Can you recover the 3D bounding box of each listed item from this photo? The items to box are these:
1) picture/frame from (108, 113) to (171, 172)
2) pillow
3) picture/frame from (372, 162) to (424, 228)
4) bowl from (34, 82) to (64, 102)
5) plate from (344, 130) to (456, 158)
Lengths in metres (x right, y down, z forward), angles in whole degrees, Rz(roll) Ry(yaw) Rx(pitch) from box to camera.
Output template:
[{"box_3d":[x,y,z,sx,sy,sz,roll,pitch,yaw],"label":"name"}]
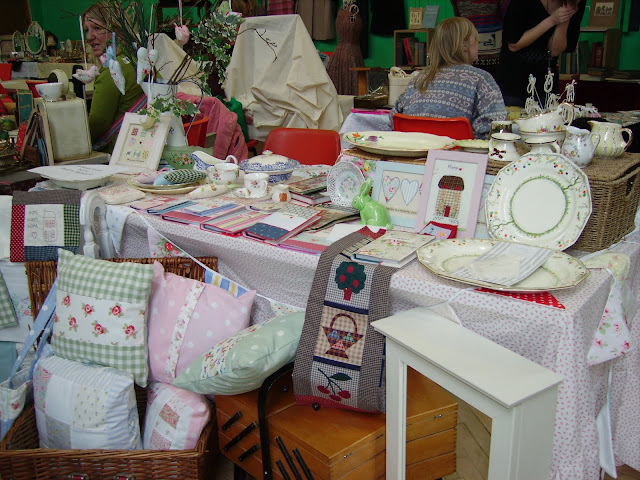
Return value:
[{"box_3d":[-0.929,-0.498,2.439,0.373,0.415,0.040,16,-1,26],"label":"picture/frame"},{"box_3d":[-0.567,0.485,1.698,0.855,0.443,0.640,7,33,9],"label":"pillow"},{"box_3d":[0.310,-0.168,1.818,0.011,0.227,0.216,5,4,-45],"label":"picture/frame"},{"box_3d":[-1.486,-0.816,2.575,0.125,0.102,0.128,-4,23,1],"label":"bowl"},{"box_3d":[0.324,-0.397,1.945,0.309,0.100,0.459,-8,16,-32],"label":"plate"}]
